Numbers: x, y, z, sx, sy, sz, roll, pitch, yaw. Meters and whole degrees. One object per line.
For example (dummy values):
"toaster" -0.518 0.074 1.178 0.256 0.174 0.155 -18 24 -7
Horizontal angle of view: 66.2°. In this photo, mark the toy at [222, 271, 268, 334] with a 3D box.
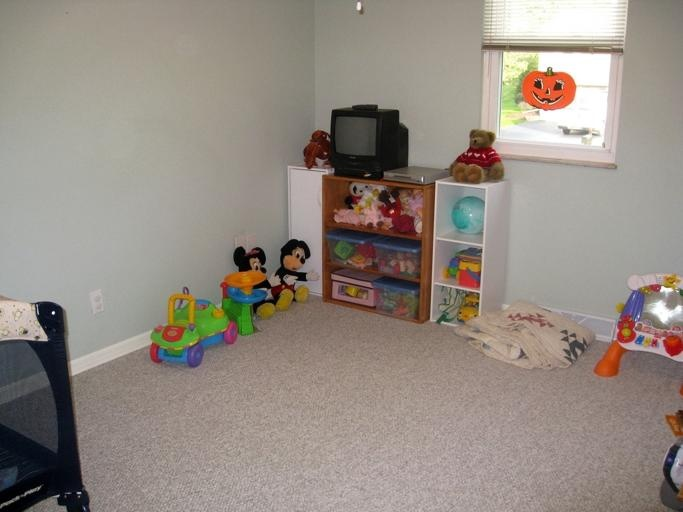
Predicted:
"toy" -0.716 0.363 3.729 0.307 0.429 0.290 6 0 -10

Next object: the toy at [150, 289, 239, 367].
"toy" -0.992 0.440 3.477 0.378 0.463 0.567 4 16 15

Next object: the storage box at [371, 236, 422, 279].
"storage box" 0.478 0.011 4.164 0.304 0.344 0.504 0 0 -2

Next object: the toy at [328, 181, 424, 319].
"toy" 0.287 -0.033 4.009 0.841 1.051 0.334 8 12 33

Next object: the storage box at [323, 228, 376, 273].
"storage box" 0.069 -0.058 4.207 0.374 0.261 0.266 8 14 26

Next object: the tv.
"tv" 0.242 -0.904 4.120 0.455 0.551 0.546 13 20 35

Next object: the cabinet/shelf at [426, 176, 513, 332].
"cabinet/shelf" 0.942 -0.040 3.847 0.458 1.035 0.502 13 21 35

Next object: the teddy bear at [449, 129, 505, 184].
"teddy bear" 0.989 -0.720 3.728 0.421 0.345 0.327 -15 24 -41

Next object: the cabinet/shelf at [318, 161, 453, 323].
"cabinet/shelf" 0.366 -0.104 3.962 0.978 1.265 0.420 7 12 32

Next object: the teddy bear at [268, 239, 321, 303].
"teddy bear" -0.392 0.118 4.274 0.384 0.546 0.302 2 9 -28

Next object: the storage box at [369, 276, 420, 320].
"storage box" 0.400 0.341 3.952 0.426 0.315 0.248 12 18 37
